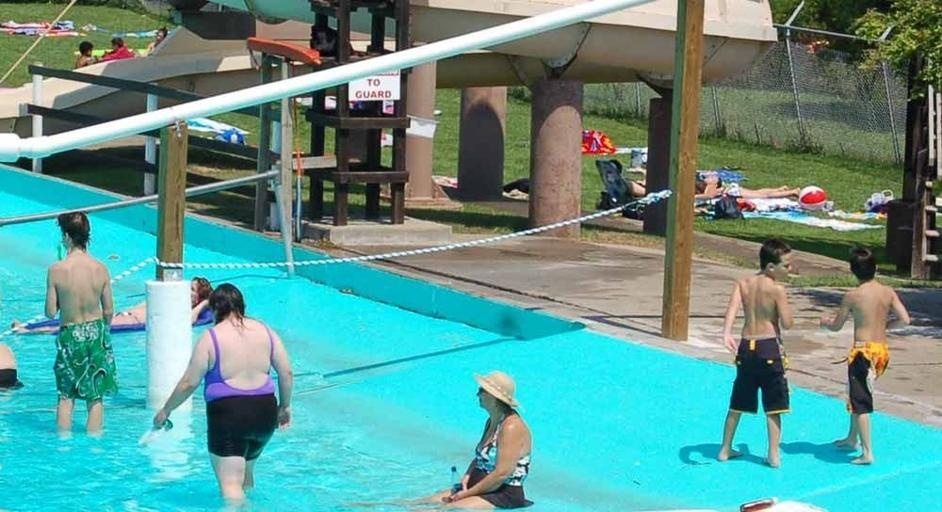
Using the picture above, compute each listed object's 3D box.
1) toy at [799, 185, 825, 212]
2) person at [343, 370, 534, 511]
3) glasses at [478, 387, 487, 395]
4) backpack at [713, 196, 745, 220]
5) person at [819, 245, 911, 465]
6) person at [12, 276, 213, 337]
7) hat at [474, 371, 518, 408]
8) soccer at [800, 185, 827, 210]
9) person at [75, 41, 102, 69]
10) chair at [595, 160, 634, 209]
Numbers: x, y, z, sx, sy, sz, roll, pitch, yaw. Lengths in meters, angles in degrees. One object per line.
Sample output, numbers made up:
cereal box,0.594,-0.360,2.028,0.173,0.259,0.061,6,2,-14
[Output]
toy,8.770,-1.481,39.223,0.675,0.446,0.622,-8,19,-18
person,0.118,2.950,24.872,1.605,2.232,0.470,5,2,19
glasses,0.185,2.163,24.732,0.099,0.062,0.093,2,9,9
backpack,6.311,-1.092,37.974,0.536,0.634,0.620,1,40,-7
person,6.448,1.622,25.303,1.173,2.647,0.562,5,2,12
person,-6.337,0.924,27.283,2.639,0.631,0.556,-10,-28,-5
hat,0.475,2.088,24.688,0.636,0.230,0.595,34,20,2
soccer,8.715,-1.476,39.205,0.683,0.452,0.637,0,15,7
person,-9.816,-5.070,39.066,0.380,0.732,1.787,3,2,-15
chair,3.511,-1.761,37.487,0.931,1.095,1.211,-7,2,11
